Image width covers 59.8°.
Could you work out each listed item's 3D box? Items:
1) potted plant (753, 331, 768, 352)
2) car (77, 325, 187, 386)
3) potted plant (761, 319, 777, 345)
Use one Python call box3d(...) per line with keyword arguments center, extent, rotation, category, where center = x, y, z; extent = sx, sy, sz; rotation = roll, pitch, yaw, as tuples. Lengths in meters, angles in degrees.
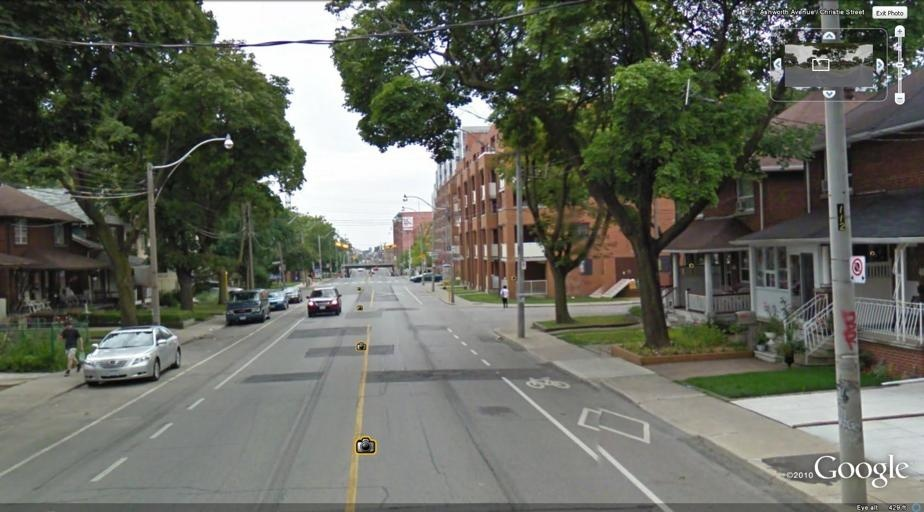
box3d(center=(14.363, 4.100, 38.266), extent=(0.718, 0.915, 0.888), rotation=(-1, 2, -37), category="potted plant")
box3d(center=(-15.903, 4.629, 39.187), extent=(3.126, 2.067, 6.928), rotation=(-1, 2, -6), category="car")
box3d(center=(14.603, 3.578, 37.961), extent=(1.226, 1.188, 0.982), rotation=(0, -5, 8), category="potted plant")
